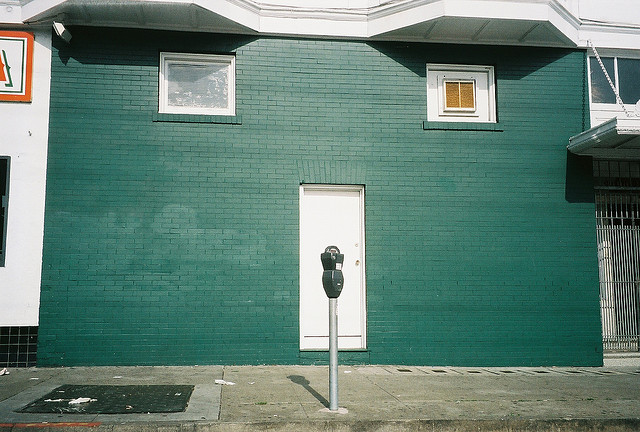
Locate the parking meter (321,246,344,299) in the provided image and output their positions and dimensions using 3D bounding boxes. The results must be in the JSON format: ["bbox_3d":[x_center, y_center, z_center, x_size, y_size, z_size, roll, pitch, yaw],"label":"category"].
[{"bbox_3d":[0.155,0.879,12.125,0.332,0.802,0.253,2,11,-1],"label":"parking meter"}]
